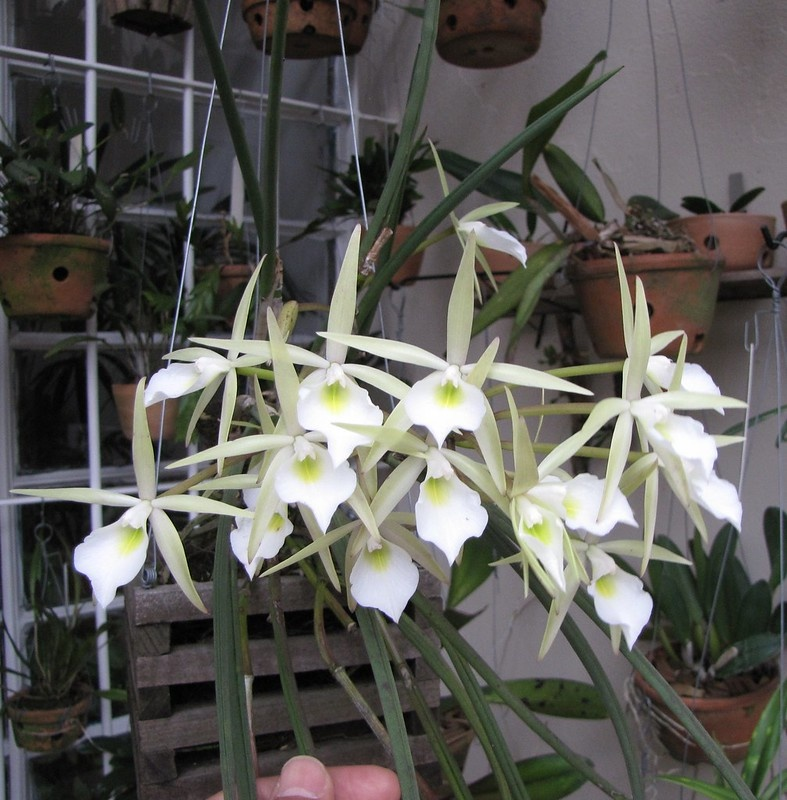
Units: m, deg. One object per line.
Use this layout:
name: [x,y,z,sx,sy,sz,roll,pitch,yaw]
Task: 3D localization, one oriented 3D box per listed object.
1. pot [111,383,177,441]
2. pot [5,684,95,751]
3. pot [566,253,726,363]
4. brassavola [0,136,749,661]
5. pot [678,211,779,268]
pot: [-0.414,0.021,1.754,0.109,0.101,0.117,2,1,0]
pot: [-0.672,0.598,2.042,0.112,0.083,0.130,3,-1,-20]
pot: [0.434,-0.118,1.777,0.195,0.162,0.210,0,-3,0]
brassavola: [0.038,0.023,1.174,0.644,0.481,0.462,-4,-51,-8]
pot: [0.621,-0.278,1.898,0.138,0.104,0.143,1,5,0]
